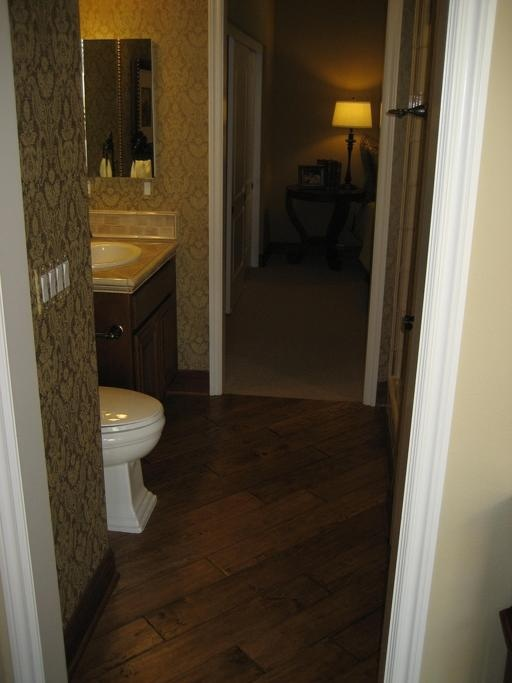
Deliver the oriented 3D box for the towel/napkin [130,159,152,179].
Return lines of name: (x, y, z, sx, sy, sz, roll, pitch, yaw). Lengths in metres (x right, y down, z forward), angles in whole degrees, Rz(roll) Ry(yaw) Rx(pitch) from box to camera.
towel/napkin: (-0.729, -1.083, 3.209, 0.097, 0.120, 0.045, 2, 13, 6)

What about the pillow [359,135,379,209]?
pillow: (1.407, -2.156, 6.422, 0.201, 0.766, 0.945, 3, 18, 10)

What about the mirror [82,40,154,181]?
mirror: (-0.842, -1.578, 3.140, 0.438, 0.057, 0.932, -10, 53, -6)

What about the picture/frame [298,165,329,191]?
picture/frame: (0.759, -2.168, 6.743, 0.331, 0.369, 0.039, -1, 9, -1)

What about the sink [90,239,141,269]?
sink: (-0.839, -0.519, 3.024, 0.250, 0.111, 0.293, 5, 40, 3)

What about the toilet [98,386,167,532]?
toilet: (-0.539, 0.516, 2.228, 0.265, 0.532, 0.441, -6, 18, -19)

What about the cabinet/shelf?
cabinet/shelf: (-0.670, -0.075, 2.754, 0.226, 0.625, 0.639, 1, 31, 3)

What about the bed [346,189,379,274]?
bed: (1.309, -1.343, 6.408, 0.295, 0.887, 1.958, 3, 19, 9)
